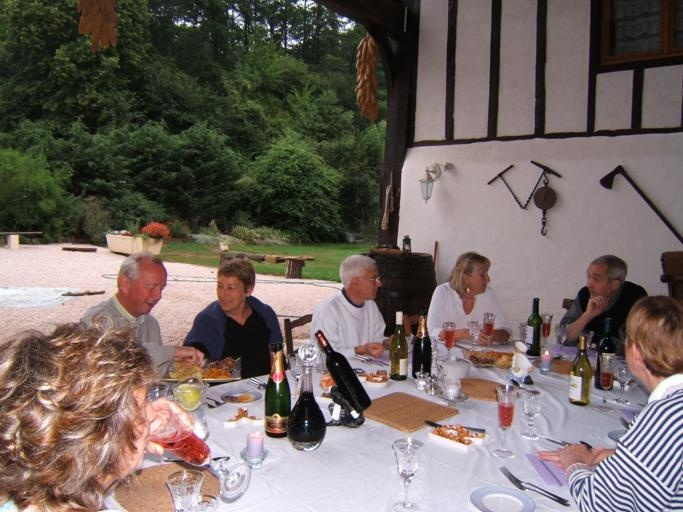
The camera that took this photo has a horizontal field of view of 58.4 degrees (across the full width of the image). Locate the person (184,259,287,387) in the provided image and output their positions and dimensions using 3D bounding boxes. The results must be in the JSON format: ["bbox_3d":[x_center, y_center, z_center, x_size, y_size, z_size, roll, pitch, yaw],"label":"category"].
[{"bbox_3d":[-0.702,0.460,4.300,0.934,1.123,0.758,2,7,-2],"label":"person"}]

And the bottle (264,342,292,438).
[{"bbox_3d":[-0.301,0.626,2.902,0.136,0.426,0.147,1,1,0],"label":"bottle"}]

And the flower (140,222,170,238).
[{"bbox_3d":[-5.115,-0.709,16.821,0.606,0.608,0.708,3,12,-21],"label":"flower"}]

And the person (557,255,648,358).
[{"bbox_3d":[1.939,0.323,4.861,0.652,1.001,0.680,-3,8,-43],"label":"person"}]

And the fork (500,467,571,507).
[{"bbox_3d":[0.805,0.968,2.542,0.037,0.039,0.264,-1,17,-31],"label":"fork"}]

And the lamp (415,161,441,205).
[{"bbox_3d":[1.184,-0.979,8.198,0.285,0.535,0.249,4,3,7],"label":"lamp"}]

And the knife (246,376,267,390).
[{"bbox_3d":[-0.485,0.704,3.515,0.043,0.034,0.314,1,7,-22],"label":"knife"}]

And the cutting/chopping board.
[{"bbox_3d":[0.331,0.780,3.144,0.478,0.078,0.345,8,5,45],"label":"cutting/chopping board"}]
